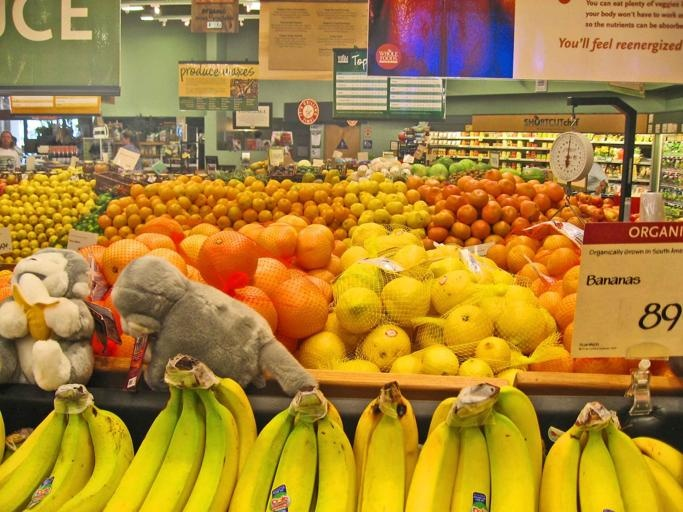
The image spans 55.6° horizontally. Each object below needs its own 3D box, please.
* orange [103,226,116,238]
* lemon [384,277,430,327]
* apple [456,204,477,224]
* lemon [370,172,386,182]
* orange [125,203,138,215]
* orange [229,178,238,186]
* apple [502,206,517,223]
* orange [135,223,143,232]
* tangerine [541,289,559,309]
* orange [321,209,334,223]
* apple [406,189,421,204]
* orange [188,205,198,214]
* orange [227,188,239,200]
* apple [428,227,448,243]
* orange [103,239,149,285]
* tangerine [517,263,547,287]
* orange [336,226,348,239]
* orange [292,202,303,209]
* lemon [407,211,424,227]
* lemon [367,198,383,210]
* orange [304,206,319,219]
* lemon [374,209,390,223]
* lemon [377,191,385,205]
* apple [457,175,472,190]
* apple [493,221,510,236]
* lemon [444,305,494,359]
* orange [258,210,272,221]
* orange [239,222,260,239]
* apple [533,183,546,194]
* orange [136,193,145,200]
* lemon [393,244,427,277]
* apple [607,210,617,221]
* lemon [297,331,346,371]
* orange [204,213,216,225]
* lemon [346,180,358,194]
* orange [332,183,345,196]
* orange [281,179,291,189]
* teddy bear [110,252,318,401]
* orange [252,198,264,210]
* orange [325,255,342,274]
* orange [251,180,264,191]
[{"bbox_3d":[-1.564,-0.167,4.401,0.077,0.076,0.068,20,-40,-36],"label":"orange"},{"bbox_3d":[0.256,0.198,2.669,0.161,0.233,0.180,4,-21,-3],"label":"lemon"},{"bbox_3d":[0.763,-0.270,3.938,0.101,0.125,0.106,0,5,1],"label":"apple"},{"bbox_3d":[0.260,-0.568,4.628,0.078,0.075,0.077,12,-15,6],"label":"lemon"},{"bbox_3d":[-1.412,-0.325,4.389,0.058,0.074,0.064,31,-6,1],"label":"orange"},{"bbox_3d":[-0.741,-0.522,4.496,0.051,0.072,0.054,9,13,38],"label":"orange"},{"bbox_3d":[1.026,-0.263,3.957,0.082,0.101,0.082,9,9,32],"label":"apple"},{"bbox_3d":[-1.337,-0.194,4.283,0.058,0.054,0.078,2,-20,-36],"label":"orange"},{"bbox_3d":[0.879,0.179,2.737,0.059,0.074,0.066,-1,5,9],"label":"tangerine"},{"bbox_3d":[-0.088,-0.261,4.207,0.072,0.106,0.084,0,-6,5],"label":"orange"},{"bbox_3d":[0.493,-0.415,4.482,0.079,0.110,0.081,-20,-23,12],"label":"apple"},{"bbox_3d":[-0.999,-0.323,4.380,0.043,0.052,0.047,18,-12,18],"label":"orange"},{"bbox_3d":[-0.732,-0.425,4.374,0.064,0.098,0.073,0,-3,11],"label":"orange"},{"bbox_3d":[0.589,-0.138,3.962,0.086,0.107,0.091,-4,12,-37],"label":"apple"},{"bbox_3d":[-0.840,-0.001,2.594,0.169,0.212,0.187,3,24,-8],"label":"orange"},{"bbox_3d":[0.886,0.089,3.027,0.099,0.120,0.108,-18,3,6],"label":"tangerine"},{"bbox_3d":[0.004,-0.154,4.122,0.057,0.086,0.064,-3,-3,1],"label":"orange"},{"bbox_3d":[-0.298,-0.354,4.354,0.042,0.064,0.047,-4,4,3],"label":"orange"},{"bbox_3d":[0.463,-0.236,4.081,0.089,0.090,0.083,43,21,23],"label":"lemon"},{"bbox_3d":[0.220,-0.349,4.252,0.075,0.078,0.081,-11,26,22],"label":"lemon"},{"bbox_3d":[-0.192,-0.289,4.272,0.076,0.097,0.082,5,3,-34],"label":"orange"},{"bbox_3d":[0.257,-0.257,4.177,0.084,0.111,0.071,-11,1,-44],"label":"lemon"},{"bbox_3d":[0.265,-0.391,4.305,0.060,0.089,0.067,2,-21,6],"label":"lemon"},{"bbox_3d":[0.811,-0.490,4.246,0.088,0.120,0.089,-12,19,-37],"label":"apple"},{"bbox_3d":[0.972,-0.182,3.942,0.080,0.098,0.081,5,6,32],"label":"apple"},{"bbox_3d":[0.499,0.274,2.577,0.171,0.227,0.170,-32,35,-34],"label":"lemon"},{"bbox_3d":[-0.496,-0.267,4.236,0.066,0.077,0.069,14,-8,-12],"label":"orange"},{"bbox_3d":[-0.440,-0.130,3.165,0.079,0.073,0.114,-1,6,-7],"label":"orange"},{"bbox_3d":[1.307,-0.460,4.279,0.058,0.038,0.065,22,-7,9],"label":"apple"},{"bbox_3d":[-1.372,-0.414,4.445,0.045,0.067,0.050,7,8,5],"label":"orange"},{"bbox_3d":[0.303,0.007,2.863,0.099,0.122,0.138,-30,-5,34],"label":"lemon"},{"bbox_3d":[1.833,-0.289,4.396,0.065,0.062,0.100,0,10,10],"label":"apple"},{"bbox_3d":[-0.074,0.366,2.480,0.150,0.152,0.142,-18,18,-7],"label":"lemon"},{"bbox_3d":[-0.858,-0.253,4.256,0.051,0.077,0.061,3,-17,3],"label":"orange"},{"bbox_3d":[0.074,-0.494,4.539,0.081,0.095,0.079,-10,-6,-35],"label":"lemon"},{"bbox_3d":[-0.022,-0.477,4.515,0.073,0.093,0.077,6,7,7],"label":"orange"},{"bbox_3d":[-0.380,-0.506,4.507,0.054,0.080,0.062,6,-22,6],"label":"orange"},{"bbox_3d":[-0.429,0.261,2.251,0.678,0.469,0.382,6,1,-4],"label":"teddy bear"},{"bbox_3d":[-0.535,-0.342,4.222,0.061,0.077,0.067,3,14,-8],"label":"orange"},{"bbox_3d":[-0.033,0.039,3.166,0.067,0.098,0.073,1,15,-19],"label":"orange"},{"bbox_3d":[-0.560,-0.486,4.337,0.059,0.072,0.075,10,-30,5],"label":"orange"}]
